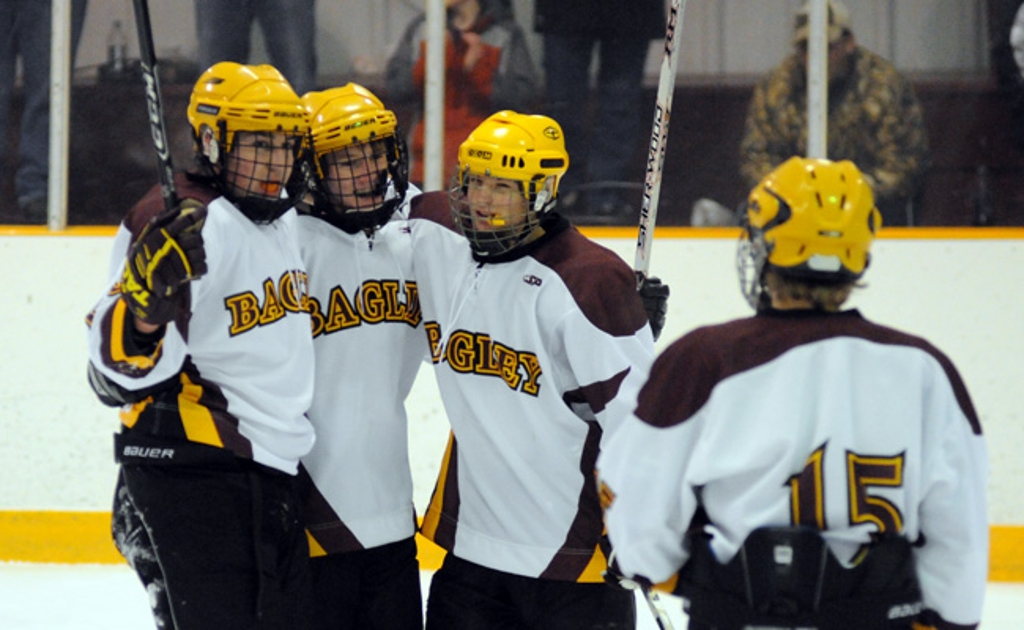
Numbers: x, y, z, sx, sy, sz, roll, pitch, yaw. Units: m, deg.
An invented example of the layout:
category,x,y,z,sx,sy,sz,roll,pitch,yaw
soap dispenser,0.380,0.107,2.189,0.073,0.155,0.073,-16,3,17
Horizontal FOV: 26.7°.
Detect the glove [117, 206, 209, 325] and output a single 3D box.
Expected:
category,x,y,z,sx,sy,sz,roll,pitch,yaw
glove,-1.436,-0.197,9.020,0.356,0.530,0.209,-2,11,-5
